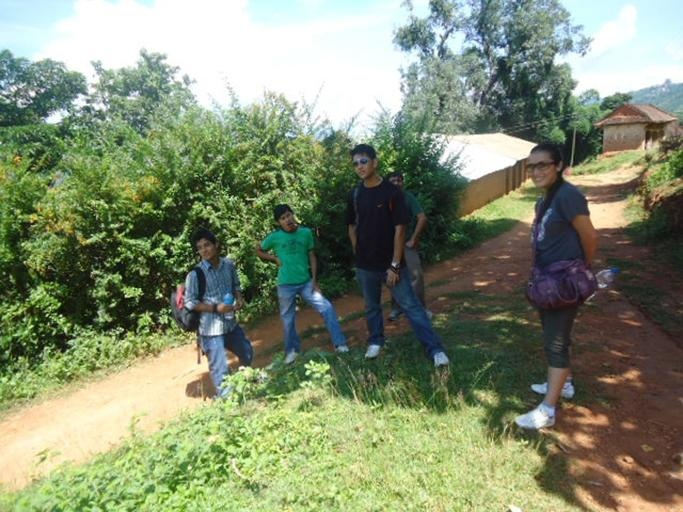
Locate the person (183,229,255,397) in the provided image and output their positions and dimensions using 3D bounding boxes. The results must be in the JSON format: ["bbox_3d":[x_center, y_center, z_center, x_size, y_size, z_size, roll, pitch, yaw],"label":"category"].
[{"bbox_3d":[-1.814,0.707,6.846,0.842,2.046,0.517,-17,8,-31],"label":"person"}]

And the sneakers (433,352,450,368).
[{"bbox_3d":[1.295,1.351,6.150,0.107,0.128,0.284,-24,-23,-3],"label":"sneakers"}]

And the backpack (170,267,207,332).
[{"bbox_3d":[-2.227,0.647,6.825,0.623,0.852,0.354,-8,9,36],"label":"backpack"}]

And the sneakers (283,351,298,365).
[{"bbox_3d":[-0.778,1.570,7.363,0.214,0.152,0.383,-14,7,-6],"label":"sneakers"}]

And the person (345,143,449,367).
[{"bbox_3d":[0.619,-0.027,6.398,1.158,3.022,0.419,-7,9,39],"label":"person"}]

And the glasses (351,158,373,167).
[{"bbox_3d":[0.262,-1.261,6.308,0.234,0.077,0.077,-11,8,26],"label":"glasses"}]

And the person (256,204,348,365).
[{"bbox_3d":[-0.683,0.400,7.536,0.999,1.922,1.181,-15,7,-17],"label":"person"}]

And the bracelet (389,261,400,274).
[{"bbox_3d":[0.711,0.149,6.262,0.119,0.147,0.105,8,-8,35],"label":"bracelet"}]

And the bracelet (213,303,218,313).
[{"bbox_3d":[-1.775,0.729,6.668,0.078,0.098,0.052,-12,7,10],"label":"bracelet"}]
